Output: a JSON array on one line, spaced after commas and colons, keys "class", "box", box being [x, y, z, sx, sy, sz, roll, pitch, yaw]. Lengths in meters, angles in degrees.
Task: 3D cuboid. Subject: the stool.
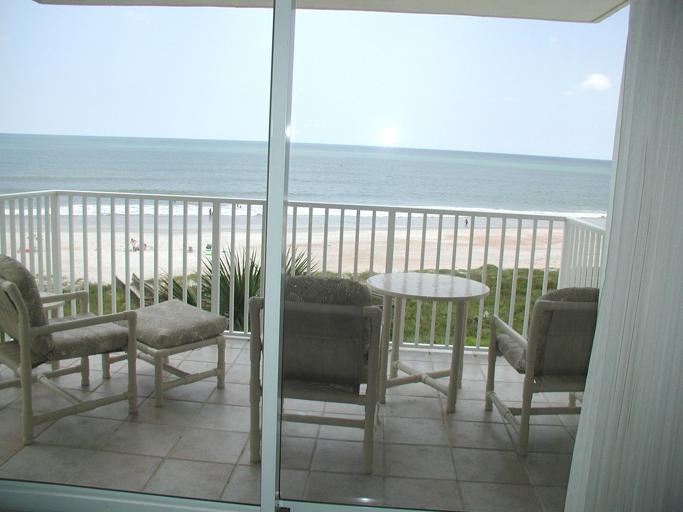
[{"class": "stool", "box": [-0.946, 0.403, 3.180, 0.444, 0.470, 0.621, -9, 17, -36]}]
